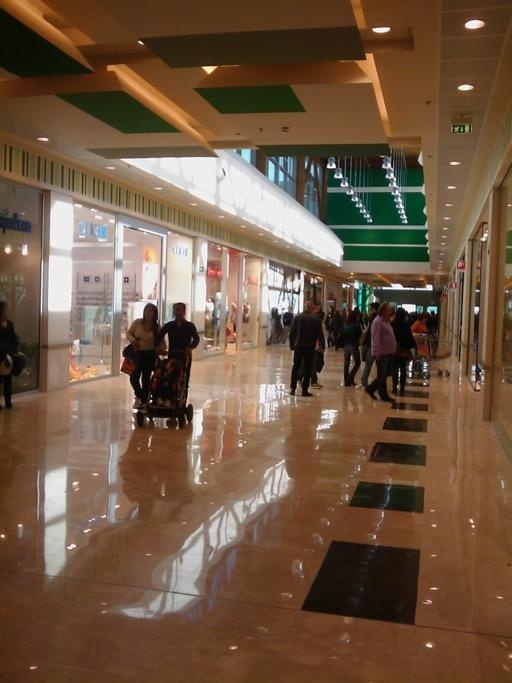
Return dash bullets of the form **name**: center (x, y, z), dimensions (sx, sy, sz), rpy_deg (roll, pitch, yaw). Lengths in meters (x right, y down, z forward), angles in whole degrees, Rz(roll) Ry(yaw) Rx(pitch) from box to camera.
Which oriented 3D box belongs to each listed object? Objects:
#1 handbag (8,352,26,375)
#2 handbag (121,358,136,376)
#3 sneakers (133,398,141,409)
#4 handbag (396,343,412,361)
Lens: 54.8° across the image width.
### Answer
- **handbag**: center (-3.586, 0.334, 7.303), dimensions (0.209, 0.351, 0.188), rpy_deg (12, 35, -4)
- **handbag**: center (-1.894, 0.382, 7.264), dimensions (0.190, 0.269, 0.317), rpy_deg (1, -2, -17)
- **sneakers**: center (-1.872, 0.975, 7.675), dimensions (0.108, 0.156, 0.462), rpy_deg (3, -12, -10)
- **handbag**: center (3.031, 0.245, 9.968), dimensions (0.321, 0.409, 0.255), rpy_deg (-1, 0, 29)
